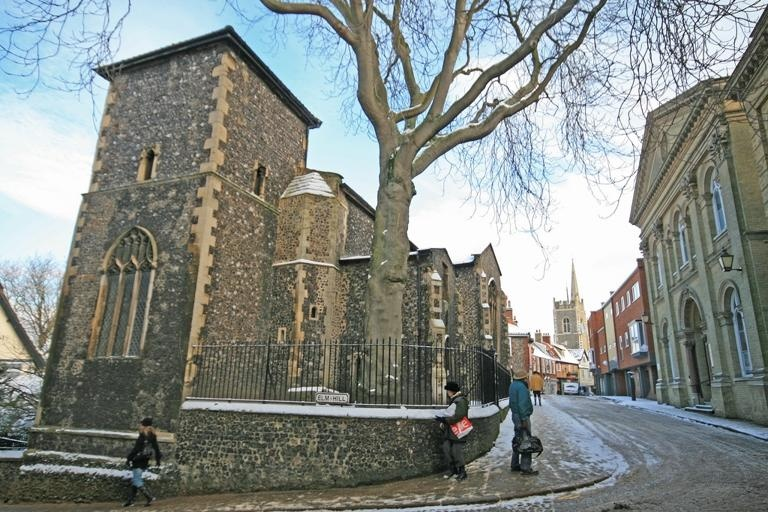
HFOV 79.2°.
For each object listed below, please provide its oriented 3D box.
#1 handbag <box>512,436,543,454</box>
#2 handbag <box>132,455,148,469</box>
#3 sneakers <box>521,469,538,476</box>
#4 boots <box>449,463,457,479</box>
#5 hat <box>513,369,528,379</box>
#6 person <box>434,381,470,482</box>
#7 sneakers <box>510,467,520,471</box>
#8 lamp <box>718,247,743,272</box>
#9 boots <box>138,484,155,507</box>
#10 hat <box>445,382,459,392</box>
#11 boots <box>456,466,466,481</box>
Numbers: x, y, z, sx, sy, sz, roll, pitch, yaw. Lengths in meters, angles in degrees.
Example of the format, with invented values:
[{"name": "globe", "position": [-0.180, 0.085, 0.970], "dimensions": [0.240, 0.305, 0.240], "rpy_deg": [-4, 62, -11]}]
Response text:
[{"name": "handbag", "position": [3.888, 5.229, 12.769], "dimensions": [0.801, 0.329, 0.800], "rpy_deg": [-7, -15, 18]}, {"name": "handbag", "position": [-7.195, 6.055, 13.616], "dimensions": [0.258, 0.395, 0.417], "rpy_deg": [-1, -9, 2]}, {"name": "sneakers", "position": [3.921, 5.901, 12.586], "dimensions": [0.403, 0.166, 0.162], "rpy_deg": [-1, -14, 7]}, {"name": "boots", "position": [1.857, 5.929, 12.774], "dimensions": [0.147, 0.323, 0.437], "rpy_deg": [2, -17, -9]}, {"name": "hat", "position": [3.895, 3.457, 13.500], "dimensions": [0.577, 0.195, 0.566], "rpy_deg": [1, -9, -3]}, {"name": "person", "position": [1.893, 4.857, 12.993], "dimensions": [0.921, 2.559, 1.077], "rpy_deg": [0, -17, -1]}, {"name": "sneakers", "position": [3.611, 5.919, 12.859], "dimensions": [0.220, 0.131, 0.101], "rpy_deg": [-4, -17, 11]}, {"name": "lamp", "position": [15.088, 0.156, 20.346], "dimensions": [0.630, 1.219, 1.409], "rpy_deg": [-12, -20, 34]}, {"name": "boots", "position": [-6.959, 7.041, 13.612], "dimensions": [0.400, 0.490, 0.640], "rpy_deg": [7, -18, -24]}, {"name": "hat", "position": [1.880, 3.676, 13.035], "dimensions": [0.307, 0.264, 0.342], "rpy_deg": [28, -14, -24]}, {"name": "boots", "position": [2.053, 5.877, 12.539], "dimensions": [0.284, 0.347, 0.258], "rpy_deg": [-3, -17, 7]}]
